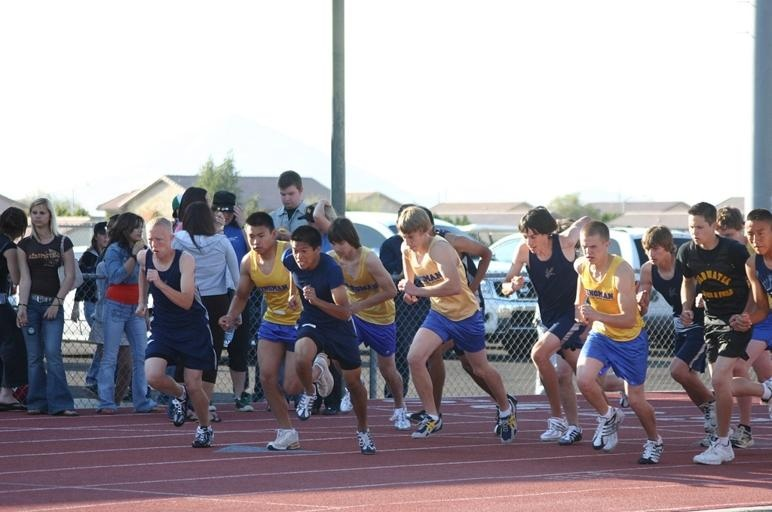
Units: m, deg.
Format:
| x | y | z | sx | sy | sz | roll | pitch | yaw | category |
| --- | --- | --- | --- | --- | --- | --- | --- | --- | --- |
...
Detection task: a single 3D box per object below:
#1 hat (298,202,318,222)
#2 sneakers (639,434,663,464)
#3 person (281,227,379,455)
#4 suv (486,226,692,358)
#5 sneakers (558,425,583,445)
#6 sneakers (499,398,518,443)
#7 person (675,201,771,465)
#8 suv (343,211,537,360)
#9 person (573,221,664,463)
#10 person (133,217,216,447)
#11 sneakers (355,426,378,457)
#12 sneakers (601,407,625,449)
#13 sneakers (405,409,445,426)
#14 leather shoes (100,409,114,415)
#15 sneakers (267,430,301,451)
| x | y | z | sx | sy | sz | roll | pitch | yaw | category |
| --- | --- | --- | --- | --- | --- | --- | --- | --- | --- |
| -1.039 | -0.576 | 11.603 | 0.299 | 0.294 | 0.227 | -5 | -9 | 43 | hat |
| 2.732 | 1.969 | 9.068 | 0.159 | 0.184 | 0.452 | -4 | 9 | 26 | sneakers |
| -0.664 | 0.907 | 9.184 | 0.866 | 2.368 | 0.847 | -3 | 0 | 24 | person |
| 3.275 | 0.536 | 17.009 | 2.402 | 2.135 | 4.062 | -1 | -4 | 6 | suv |
| 2.093 | 2.035 | 10.023 | 0.129 | 0.169 | 0.369 | -2 | -6 | 30 | sneakers |
| 1.378 | 1.941 | 10.269 | 0.232 | 0.541 | 0.176 | 2 | -3 | -43 | sneakers |
| 3.517 | 0.779 | 9.339 | 0.709 | 2.791 | 1.103 | -3 | 0 | 18 | person |
| 1.270 | 0.469 | 17.215 | 2.213 | 2.130 | 3.749 | 1 | 6 | -41 | suv |
| 2.370 | 0.889 | 9.134 | 0.816 | 2.526 | 0.946 | -3 | 0 | 6 | person |
| -2.311 | 0.852 | 9.646 | 0.732 | 2.418 | 1.024 | -3 | 0 | -20 | person |
| -0.220 | 1.966 | 9.420 | 0.129 | 0.168 | 0.391 | -3 | -1 | -10 | sneakers |
| 2.361 | 1.817 | 9.394 | 0.244 | 0.552 | 0.177 | 6 | 3 | -39 | sneakers |
| 0.484 | 2.059 | 11.281 | 0.586 | 0.263 | 0.203 | 0 | -4 | 1 | sneakers |
| -3.723 | 2.068 | 11.677 | 0.187 | 0.088 | 0.068 | -6 | -8 | 23 | leather shoes |
| -1.099 | 1.960 | 9.464 | 0.352 | 0.227 | 0.188 | 2 | 2 | 1 | sneakers |
